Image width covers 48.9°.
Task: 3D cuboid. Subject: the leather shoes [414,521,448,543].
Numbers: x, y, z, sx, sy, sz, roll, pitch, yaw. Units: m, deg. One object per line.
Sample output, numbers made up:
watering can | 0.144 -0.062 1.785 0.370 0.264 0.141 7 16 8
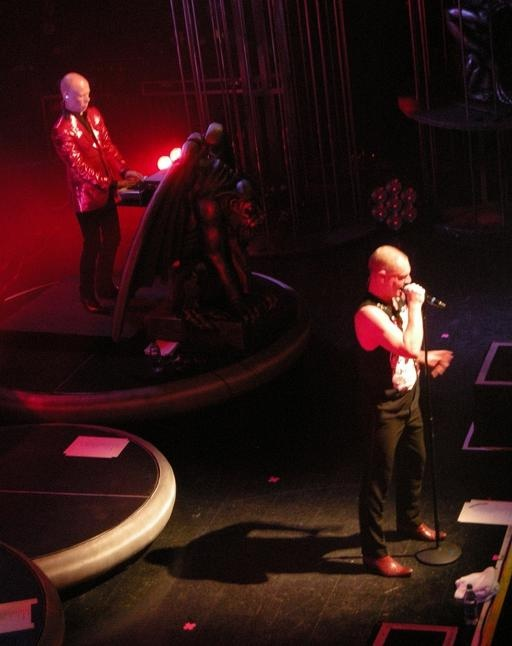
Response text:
leather shoes | 0.748 0.909 2.450 0.193 0.077 0.064 -5 12 26

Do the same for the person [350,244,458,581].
person | 0.537 0.390 2.200 0.300 1.364 0.459 -2 25 25

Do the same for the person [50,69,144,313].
person | -1.376 -1.090 4.803 0.807 1.931 0.560 -20 24 -16

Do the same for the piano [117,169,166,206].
piano | -0.926 -1.081 4.544 0.454 0.186 0.313 -1 21 8

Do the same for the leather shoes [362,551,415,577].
leather shoes | 0.539 0.961 2.288 0.175 0.064 0.087 0 8 24
